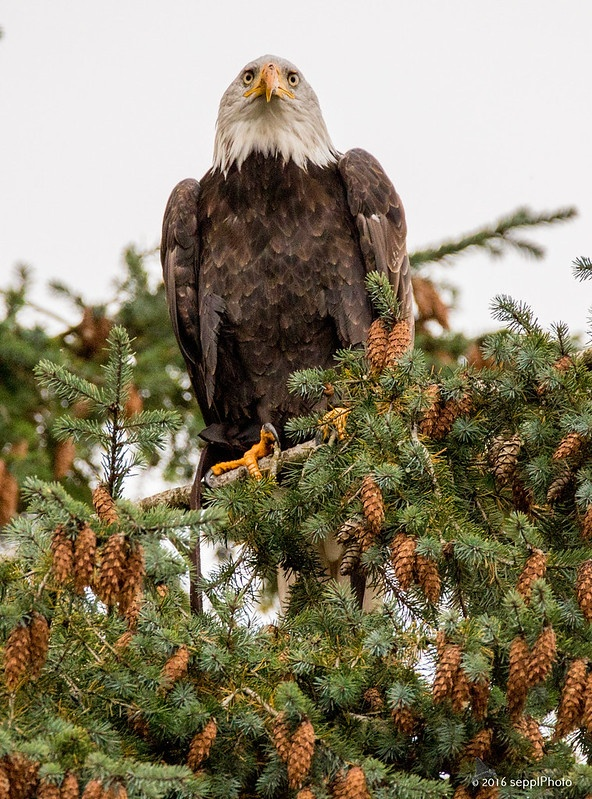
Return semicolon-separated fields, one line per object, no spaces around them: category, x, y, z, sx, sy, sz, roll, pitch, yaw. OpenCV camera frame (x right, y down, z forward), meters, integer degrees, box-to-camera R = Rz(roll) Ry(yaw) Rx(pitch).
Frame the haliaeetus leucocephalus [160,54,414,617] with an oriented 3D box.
haliaeetus leucocephalus;-0.064;-0.126;5.962;0.663;1.480;1.506;-3;-41;-1
